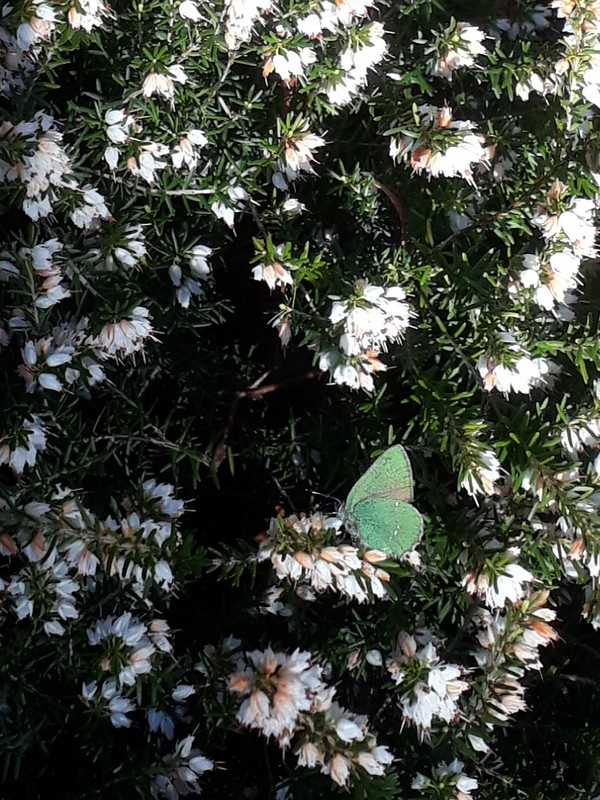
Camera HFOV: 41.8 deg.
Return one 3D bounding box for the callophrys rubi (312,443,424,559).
[{"bbox_3d":[0.118,0.191,1.405,0.140,0.217,0.157,-2,22,8],"label":"callophrys rubi"}]
